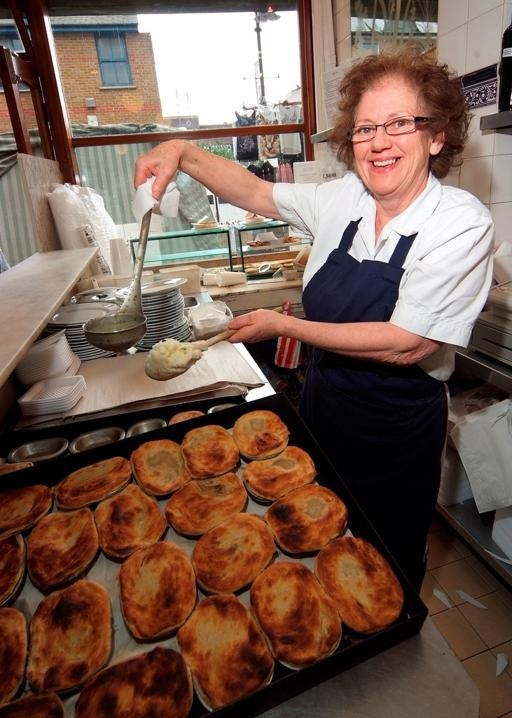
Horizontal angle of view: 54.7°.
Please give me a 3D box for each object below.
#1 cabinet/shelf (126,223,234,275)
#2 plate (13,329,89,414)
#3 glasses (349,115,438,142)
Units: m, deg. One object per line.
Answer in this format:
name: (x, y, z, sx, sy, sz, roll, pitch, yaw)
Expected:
cabinet/shelf: (-0.479, -0.632, 3.199, 0.212, 0.321, 0.747, -20, 1, 42)
plate: (-0.590, 0.052, 1.399, 0.171, 0.093, 0.245, -11, 39, -18)
glasses: (0.300, -0.511, 1.097, 0.176, 0.047, 0.060, 3, 25, 17)
